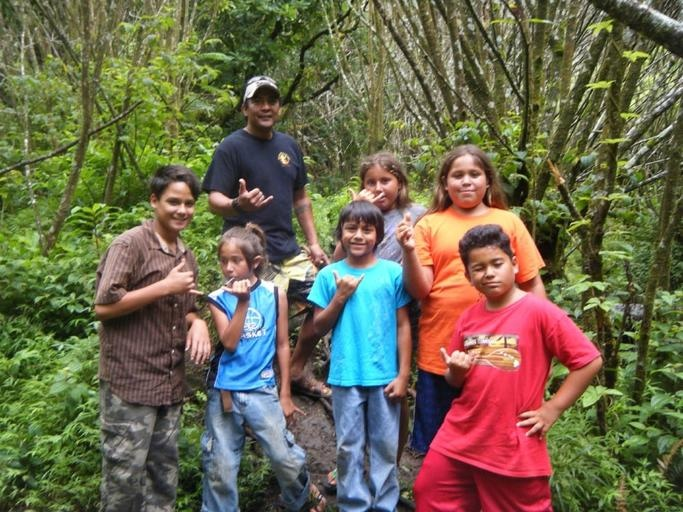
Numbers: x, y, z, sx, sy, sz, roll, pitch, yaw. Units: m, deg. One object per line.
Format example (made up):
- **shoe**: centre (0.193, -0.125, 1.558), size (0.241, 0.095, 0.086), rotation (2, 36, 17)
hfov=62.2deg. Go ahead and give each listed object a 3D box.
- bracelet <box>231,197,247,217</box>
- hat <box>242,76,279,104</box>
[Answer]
- **bracelet**: centre (-0.753, -0.347, 4.090), size (0.084, 0.135, 0.121), rotation (-16, 27, -7)
- **hat**: centre (-0.626, -1.288, 4.375), size (0.255, 0.182, 0.213), rotation (3, 0, -13)
